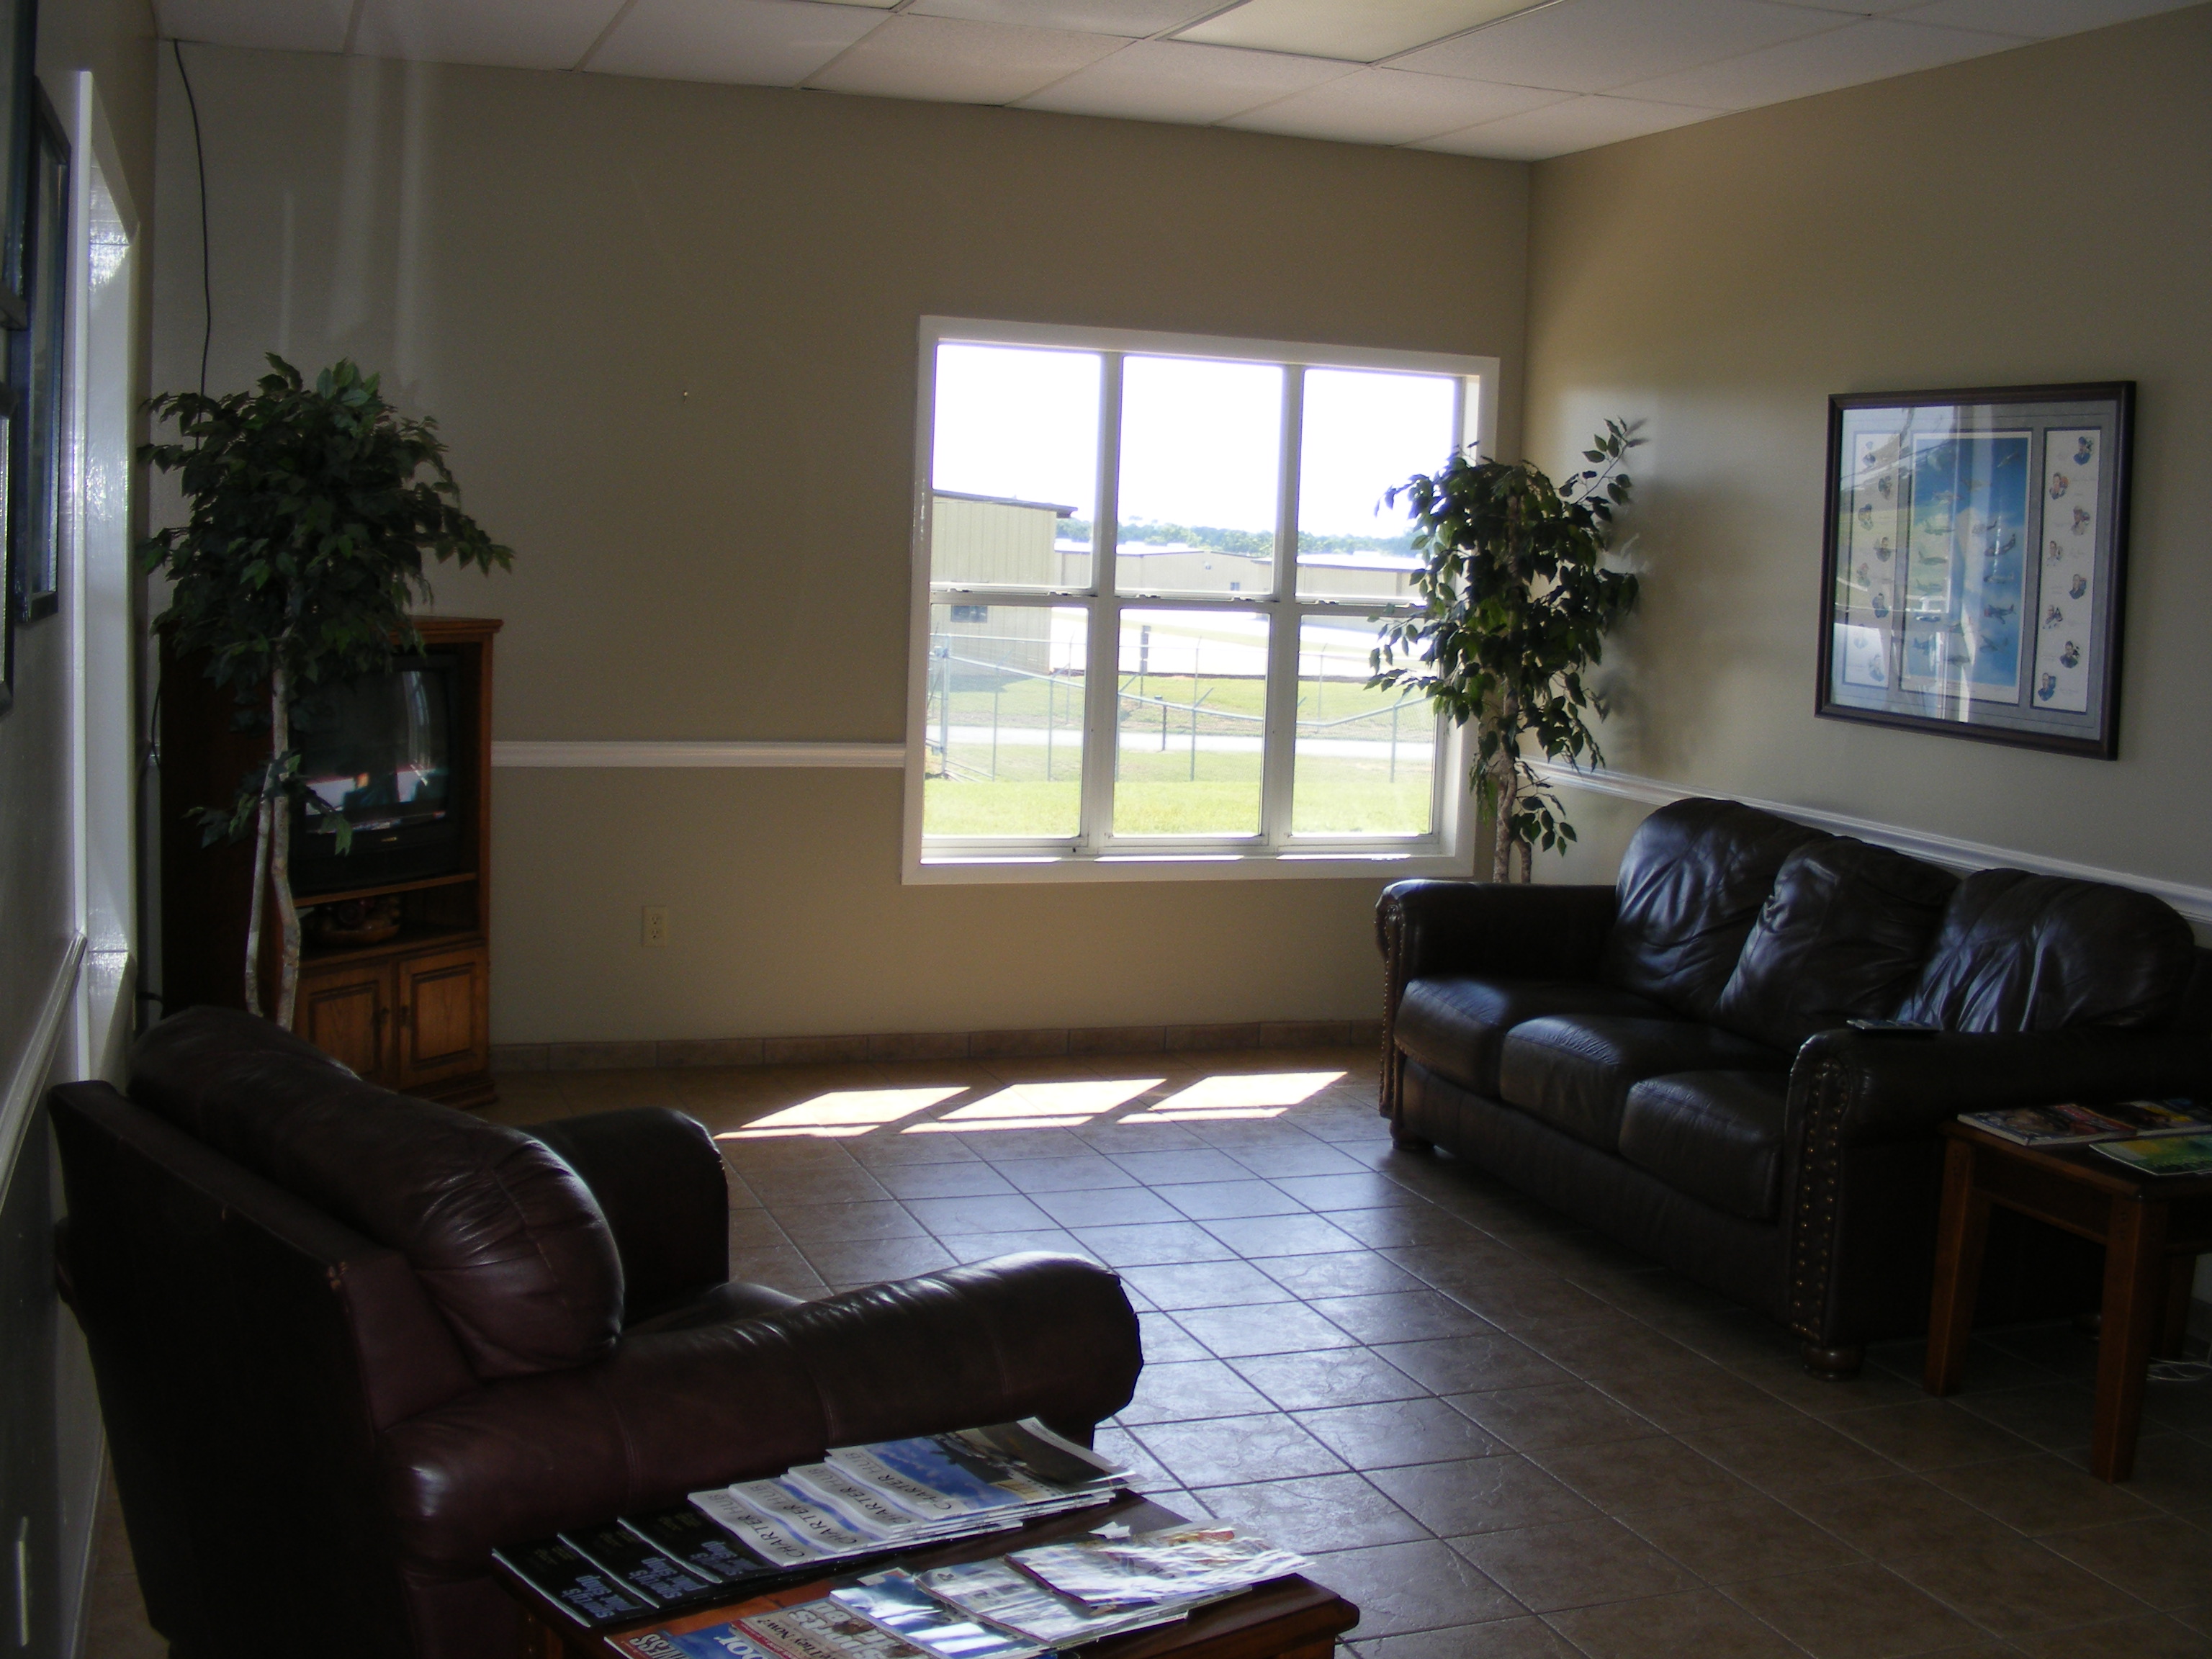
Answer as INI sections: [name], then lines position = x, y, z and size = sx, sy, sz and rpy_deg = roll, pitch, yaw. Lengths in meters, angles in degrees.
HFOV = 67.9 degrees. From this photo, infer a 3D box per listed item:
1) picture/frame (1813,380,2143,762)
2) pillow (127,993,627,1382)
[picture/frame]
position = 2.676, -0.790, 4.986
size = 0.084, 1.276, 1.166
rpy_deg = -3, 6, -32
[pillow]
position = -1.074, 0.518, 2.400
size = 0.906, 0.301, 0.262
rpy_deg = 9, 12, 39
